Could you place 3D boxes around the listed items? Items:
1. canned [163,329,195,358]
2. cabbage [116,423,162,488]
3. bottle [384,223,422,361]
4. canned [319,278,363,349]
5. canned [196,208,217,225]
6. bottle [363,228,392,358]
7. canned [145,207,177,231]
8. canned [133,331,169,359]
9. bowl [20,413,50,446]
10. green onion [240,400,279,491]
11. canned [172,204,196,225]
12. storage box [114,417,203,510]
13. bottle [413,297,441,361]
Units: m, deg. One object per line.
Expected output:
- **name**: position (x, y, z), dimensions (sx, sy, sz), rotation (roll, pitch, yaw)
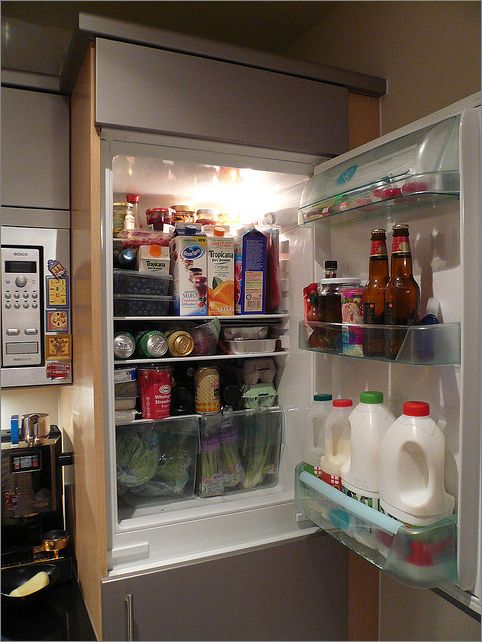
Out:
- **canned**: position (-0.153, 0.059, 1.272), dimensions (0.061, 0.066, 0.109), rotation (-20, 9, -10)
- **cabbage**: position (-0.253, 0.333, 1.246), dimensions (0.111, 0.158, 0.050), rotation (6, -1, -41)
- **bottle**: position (0.299, -0.054, 0.939), dimensions (0.064, 0.250, 0.057), rotation (0, -4, 22)
- **canned**: position (0.222, -0.029, 1.088), dimensions (0.072, 0.165, 0.084), rotation (-7, 14, -36)
- **canned**: position (-0.099, -0.303, 1.463), dimensions (0.050, 0.050, 0.052), rotation (0, 4, 0)
- **bottle**: position (0.266, -0.058, 0.993), dimensions (0.063, 0.245, 0.054), rotation (4, 0, -42)
- **canned**: position (-0.225, -0.282, 1.382), dimensions (0.069, 0.063, 0.066), rotation (-1, 5, -17)
- **canned**: position (-0.214, 0.046, 1.245), dimensions (0.070, 0.069, 0.119), rotation (-5, 9, -24)
- **bowl**: position (-0.560, 0.292, 1.377), dimensions (0.062, 0.086, 0.084), rotation (2, 8, 0)
- **green onion**: position (0.044, 0.355, 1.532), dimensions (0.187, 0.263, 0.189), rotation (-2, 7, -6)
- **canned**: position (-0.165, -0.308, 1.452), dimensions (0.043, 0.039, 0.077), rotation (0, 18, -3)
- **storage box**: position (-0.221, 0.309, 1.381), dimensions (0.278, 0.277, 0.206), rotation (-1, 6, -25)
- **bottle**: position (0.309, 0.020, 0.830), dimensions (0.032, 0.111, 0.031), rotation (0, 9, 0)
